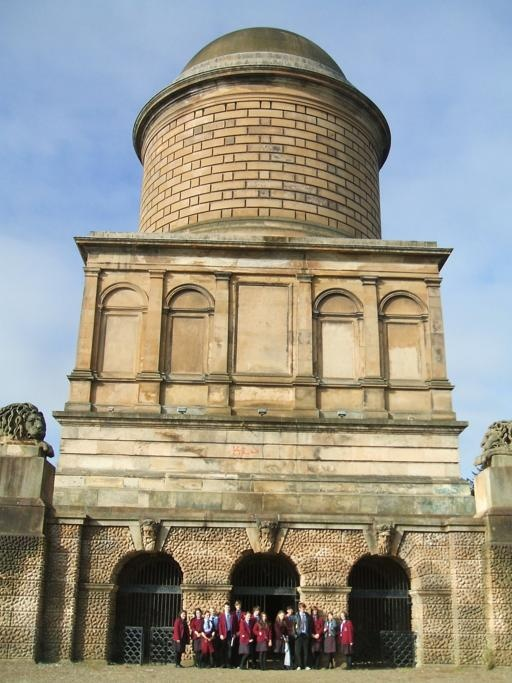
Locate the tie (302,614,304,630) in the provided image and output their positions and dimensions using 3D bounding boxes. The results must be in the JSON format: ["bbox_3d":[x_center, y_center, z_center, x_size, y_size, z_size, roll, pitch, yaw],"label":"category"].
[{"bbox_3d":[0.978,5.700,14.537,0.068,0.338,0.061,0,-23,3],"label":"tie"}]

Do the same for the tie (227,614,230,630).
[{"bbox_3d":[-0.533,5.637,14.395,0.095,0.298,0.036,13,-26,-25],"label":"tie"}]
